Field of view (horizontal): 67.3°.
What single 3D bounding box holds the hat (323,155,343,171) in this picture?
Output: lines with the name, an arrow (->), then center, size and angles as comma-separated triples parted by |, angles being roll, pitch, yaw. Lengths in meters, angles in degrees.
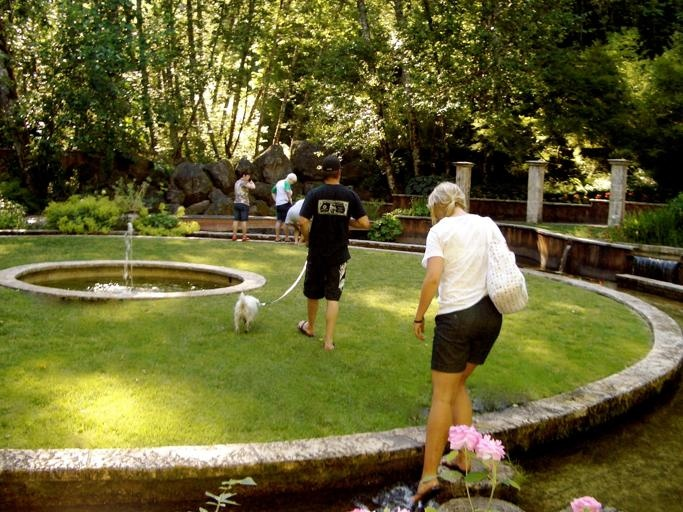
hat -> -0.120, -1.065, 5.858 | 0.194, 0.197, 0.375 | 1, 6, -6

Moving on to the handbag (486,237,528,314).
handbag -> 1.214, 0.125, 3.770 | 0.264, 0.541, 0.528 | -7, 5, 23

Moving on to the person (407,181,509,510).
person -> 0.777, 0.598, 3.770 | 0.695, 2.295, 0.503 | -3, 8, -34

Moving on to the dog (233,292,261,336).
dog -> -1.147, 0.662, 6.196 | 0.283, 0.484, 0.435 | 0, 6, -14

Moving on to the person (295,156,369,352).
person -> -0.123, 0.097, 5.932 | 0.757, 1.854, 0.577 | 2, 6, 1
